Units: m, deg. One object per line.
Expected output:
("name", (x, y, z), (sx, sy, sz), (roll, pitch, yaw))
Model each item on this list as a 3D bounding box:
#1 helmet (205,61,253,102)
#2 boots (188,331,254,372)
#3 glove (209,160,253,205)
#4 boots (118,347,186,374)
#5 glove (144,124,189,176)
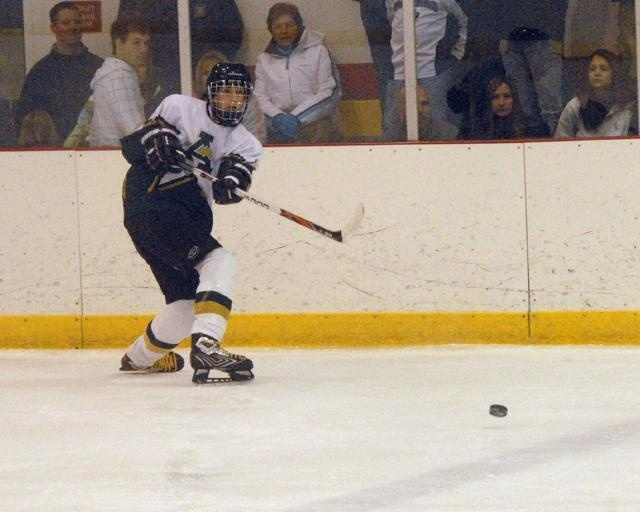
("helmet", (-0.459, -0.859, 5.488), (0.253, 0.208, 0.266), (-1, 14, -17))
("boots", (-0.487, 0.465, 5.257), (0.375, 0.176, 0.124), (5, -4, -39))
("glove", (-0.403, -0.370, 5.386), (0.164, 0.250, 0.098), (33, -23, 26))
("boots", (-0.842, 0.520, 5.601), (0.316, 0.099, 0.116), (-4, 8, -6))
("glove", (-0.741, -0.504, 5.286), (0.222, 0.104, 0.232), (-7, 47, -17))
